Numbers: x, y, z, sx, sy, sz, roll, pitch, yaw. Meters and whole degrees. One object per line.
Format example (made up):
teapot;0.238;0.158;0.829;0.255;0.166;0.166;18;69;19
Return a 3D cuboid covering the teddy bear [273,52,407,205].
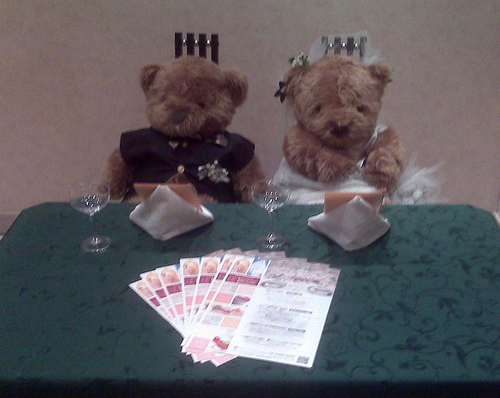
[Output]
teddy bear;0.402;-0.245;2.596;0.638;0.855;0.498;1;21;5

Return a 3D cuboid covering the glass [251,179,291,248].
glass;0.072;0.058;1.846;0.162;0.265;0.166;-5;22;-7
